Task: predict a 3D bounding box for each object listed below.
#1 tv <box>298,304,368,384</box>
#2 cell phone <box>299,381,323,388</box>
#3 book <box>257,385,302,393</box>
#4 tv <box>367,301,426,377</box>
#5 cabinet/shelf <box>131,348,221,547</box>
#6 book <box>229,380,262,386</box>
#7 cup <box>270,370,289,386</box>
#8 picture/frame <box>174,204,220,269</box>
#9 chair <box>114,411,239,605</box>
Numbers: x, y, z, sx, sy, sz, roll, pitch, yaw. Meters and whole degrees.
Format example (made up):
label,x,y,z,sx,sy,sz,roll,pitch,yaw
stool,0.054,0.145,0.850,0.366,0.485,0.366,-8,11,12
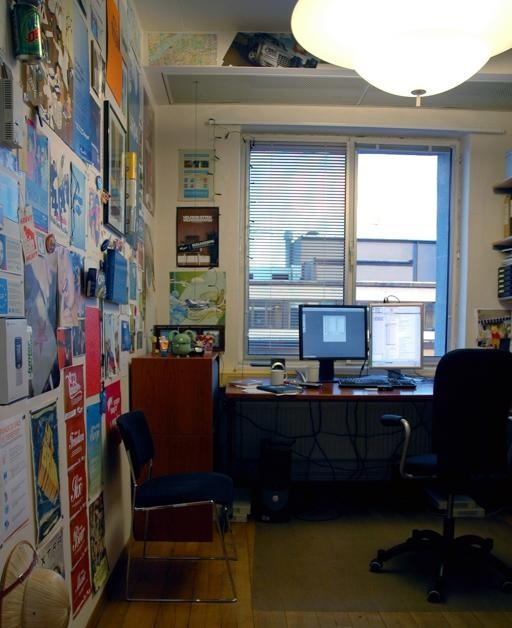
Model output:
label,x,y,z,sx,sy,sz,roll,pitch,yaw
tv,0.457,0.160,3.281,0.364,0.504,0.157,1,-6,-4
cell phone,0.302,0.394,3.061,0.123,0.018,0.147,1,4,5
book,0.122,0.395,2.934,0.233,0.019,0.283,0,4,-3
tv,0.855,0.140,3.354,0.286,0.400,0.020,0,10,17
cabinet/shelf,-0.379,0.628,2.524,0.253,0.777,0.807,0,4,-1
book,-0.066,0.391,3.108,0.175,0.008,0.251,1,4,3
cup,0.121,0.349,3.041,0.081,0.086,0.074,0,3,0
picture/frame,-0.379,-0.500,3.536,0.276,0.424,0.018,-5,39,-11
chair,-0.311,0.825,2.571,0.595,1.033,0.566,-1,-5,2
